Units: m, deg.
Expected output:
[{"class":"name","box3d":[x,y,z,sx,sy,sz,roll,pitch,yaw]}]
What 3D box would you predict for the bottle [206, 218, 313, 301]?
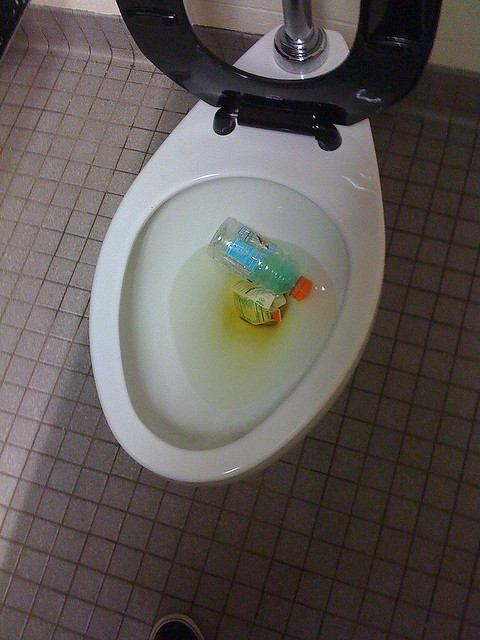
[{"class":"bottle","box3d":[0.031,-0.089,0.872,0.167,0.085,0.081,38,-67,3]}]
